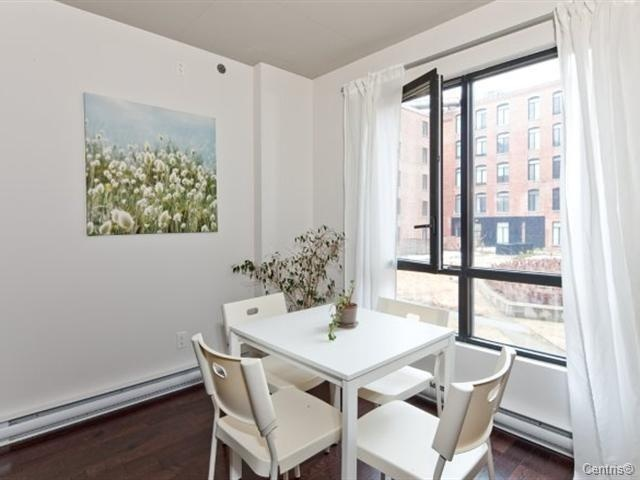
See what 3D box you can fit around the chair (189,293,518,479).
[{"bbox_3d":[0.061,0.851,2.582,1.247,1.001,0.987,-1,4,-45],"label":"chair"}]
